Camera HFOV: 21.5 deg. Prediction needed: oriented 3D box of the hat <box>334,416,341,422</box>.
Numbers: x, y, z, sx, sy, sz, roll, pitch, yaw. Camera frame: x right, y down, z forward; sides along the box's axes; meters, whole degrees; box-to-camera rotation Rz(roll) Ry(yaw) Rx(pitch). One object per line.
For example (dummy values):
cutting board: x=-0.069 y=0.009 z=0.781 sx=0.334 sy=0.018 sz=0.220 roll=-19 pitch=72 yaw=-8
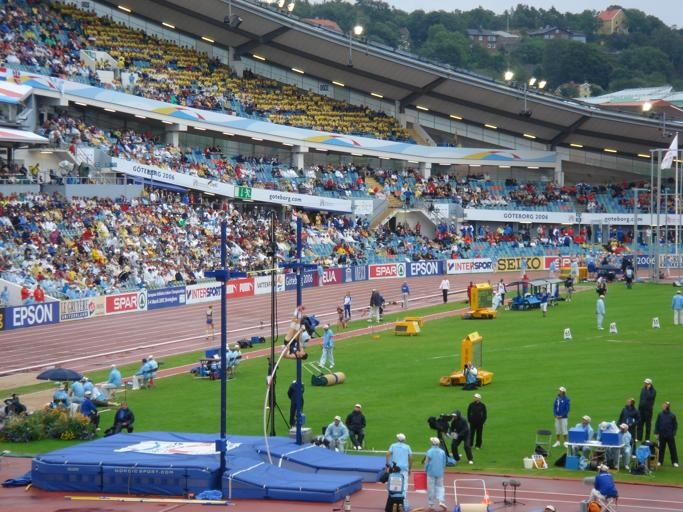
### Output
hat: x=-0.255 y=10.083 z=110.780 sx=0.248 sy=0.388 sz=0.406 roll=-1 pitch=-5 yaw=15

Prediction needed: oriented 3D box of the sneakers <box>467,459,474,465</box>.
sneakers: x=7.829 y=12.695 z=110.133 sx=0.241 sy=0.177 sz=0.438 roll=2 pitch=12 yaw=5

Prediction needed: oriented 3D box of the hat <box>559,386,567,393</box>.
hat: x=13.640 y=8.368 z=111.589 sx=0.481 sy=0.229 sz=0.334 roll=25 pitch=0 yaw=-33

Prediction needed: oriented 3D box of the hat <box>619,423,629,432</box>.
hat: x=17.023 y=10.517 z=109.646 sx=0.562 sy=0.534 sz=0.388 roll=2 pitch=5 yaw=-20

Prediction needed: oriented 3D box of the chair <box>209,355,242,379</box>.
chair: x=-7.703 y=7.547 z=121.070 sx=1.780 sy=1.590 sz=1.428 roll=1 pitch=0 yaw=19

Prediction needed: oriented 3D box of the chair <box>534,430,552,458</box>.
chair: x=12.298 y=11.620 z=111.007 sx=1.009 sy=1.707 sz=1.431 roll=1 pitch=-1 yaw=6

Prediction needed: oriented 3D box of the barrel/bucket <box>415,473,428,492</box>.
barrel/bucket: x=4.657 y=13.595 z=107.759 sx=1.184 sy=1.384 sz=0.922 roll=-1 pitch=-5 yaw=1

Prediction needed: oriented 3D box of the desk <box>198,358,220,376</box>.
desk: x=-8.819 y=7.529 z=121.167 sx=1.235 sy=1.064 sz=1.223 roll=1 pitch=3 yaw=-3

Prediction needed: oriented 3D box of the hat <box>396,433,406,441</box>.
hat: x=3.435 y=10.850 z=107.594 sx=0.206 sy=0.519 sz=0.461 roll=-16 pitch=-12 yaw=24

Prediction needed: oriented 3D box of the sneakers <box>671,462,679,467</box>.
sneakers: x=20.132 y=12.813 z=109.690 sx=0.238 sy=0.230 sz=0.582 roll=-2 pitch=-5 yaw=-7

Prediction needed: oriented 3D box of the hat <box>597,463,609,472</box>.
hat: x=15.356 y=12.626 z=106.551 sx=0.462 sy=0.244 sz=0.638 roll=-1 pitch=0 yaw=-11

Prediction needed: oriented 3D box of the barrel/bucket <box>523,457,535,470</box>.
barrel/bucket: x=11.230 y=12.741 z=109.714 sx=0.627 sy=0.606 sz=0.612 roll=-1 pitch=-4 yaw=0

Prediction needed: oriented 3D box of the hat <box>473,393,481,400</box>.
hat: x=8.355 y=8.767 z=111.383 sx=0.351 sy=0.304 sz=0.399 roll=2 pitch=-4 yaw=-11

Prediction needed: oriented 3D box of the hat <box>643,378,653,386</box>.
hat: x=18.788 y=7.806 z=110.909 sx=0.618 sy=0.306 sz=0.449 roll=8 pitch=-7 yaw=-43

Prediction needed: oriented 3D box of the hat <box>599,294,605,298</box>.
hat: x=18.769 y=2.920 z=130.981 sx=0.216 sy=0.201 sz=0.201 roll=17 pitch=21 yaw=11

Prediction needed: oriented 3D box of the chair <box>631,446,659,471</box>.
chair: x=18.522 y=12.363 z=109.359 sx=1.621 sy=1.525 sz=1.394 roll=-4 pitch=7 yaw=-36

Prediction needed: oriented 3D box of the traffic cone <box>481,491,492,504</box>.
traffic cone: x=8.548 y=14.539 z=106.497 sx=0.526 sy=0.708 sz=0.578 roll=-1 pitch=14 yaw=4
